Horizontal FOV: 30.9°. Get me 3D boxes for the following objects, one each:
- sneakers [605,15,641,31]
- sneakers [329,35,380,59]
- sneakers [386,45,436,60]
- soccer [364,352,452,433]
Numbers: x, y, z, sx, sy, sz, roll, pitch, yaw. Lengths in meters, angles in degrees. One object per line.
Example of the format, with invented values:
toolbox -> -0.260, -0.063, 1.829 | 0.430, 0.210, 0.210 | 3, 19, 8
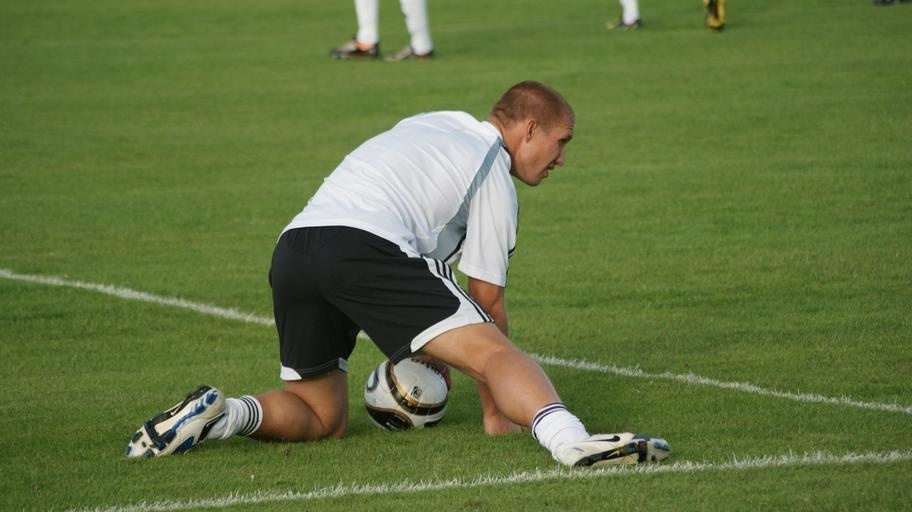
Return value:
sneakers -> 1.821, -2.543, 18.127 | 0.131, 0.149, 0.416 | -7, 14, -39
sneakers -> -1.065, -2.175, 17.464 | 0.561, 0.200, 0.197 | 1, 15, 1
sneakers -> -0.503, -2.149, 17.633 | 0.542, 0.173, 0.167 | 1, 7, -9
soccer -> -0.321, 1.083, 12.909 | 0.675, 0.525, 0.480 | -11, 9, 8
